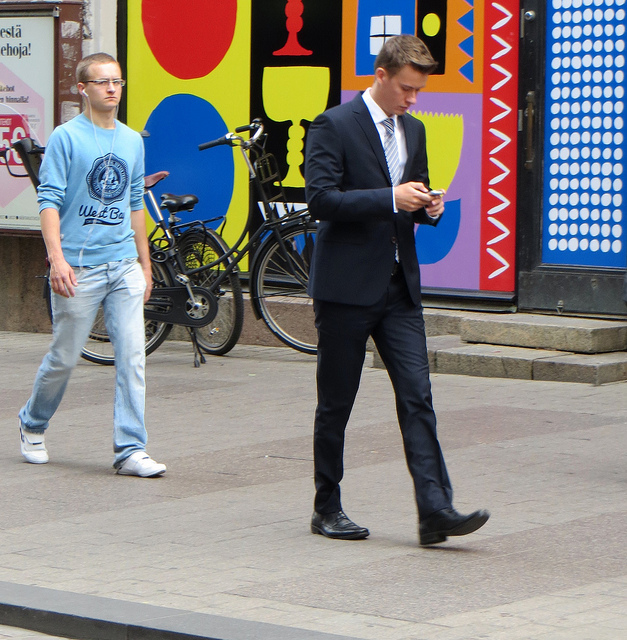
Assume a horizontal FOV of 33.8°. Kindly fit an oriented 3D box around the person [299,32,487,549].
[{"bbox_3d":[0.305,-0.096,4.148,0.681,1.980,0.993,2,8,4],"label":"person"}]

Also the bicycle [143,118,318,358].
[{"bbox_3d":[-0.711,-0.676,8.922,1.481,2.078,1.488,0,8,-7],"label":"bicycle"}]

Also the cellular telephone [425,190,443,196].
[{"bbox_3d":[0.432,-0.455,3.720,0.062,0.020,0.130,2,7,6],"label":"cellular telephone"}]

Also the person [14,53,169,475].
[{"bbox_3d":[-1.140,-0.271,5.245,0.668,2.135,0.639,-1,9,-15],"label":"person"}]

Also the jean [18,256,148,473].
[{"bbox_3d":[-1.185,0.214,5.326,0.642,1.074,0.393,0,9,-5],"label":"jean"}]
